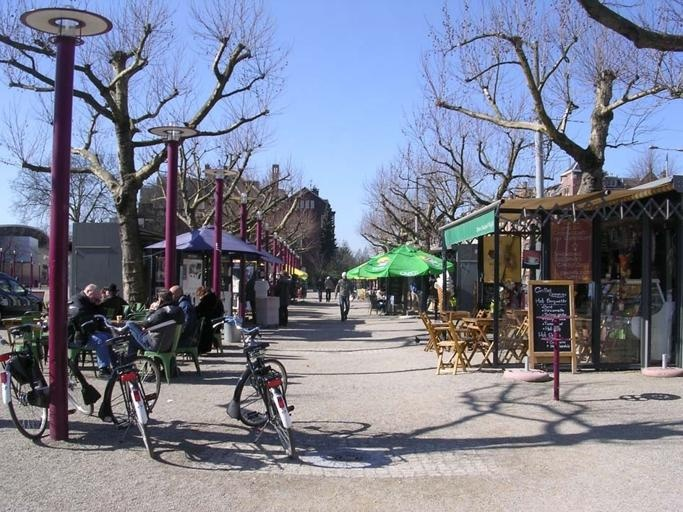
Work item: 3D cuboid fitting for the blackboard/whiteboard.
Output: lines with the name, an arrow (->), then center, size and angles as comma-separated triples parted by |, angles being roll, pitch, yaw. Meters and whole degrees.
blackboard/whiteboard -> 4.013, 1.185, 14.349 | 0.840, 1.442, 0.412 | 1, 4, 11

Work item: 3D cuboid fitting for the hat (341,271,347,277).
hat -> 0.104, 0.713, 29.413 | 0.175, 0.231, 0.252 | 2, -21, -6

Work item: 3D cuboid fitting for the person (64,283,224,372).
person -> -3.601, 1.204, 12.898 | 1.775, 0.869, 1.410 | -7, -10, 36

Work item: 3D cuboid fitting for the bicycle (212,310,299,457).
bicycle -> -1.030, 1.802, 10.147 | 0.813, 1.253, 2.104 | -12, 8, -15

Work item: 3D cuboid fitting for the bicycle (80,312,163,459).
bicycle -> -2.831, 1.736, 10.058 | 0.834, 1.322, 1.949 | -3, -14, -12

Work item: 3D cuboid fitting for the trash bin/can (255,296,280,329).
trash bin/can -> -2.393, 1.883, 25.239 | 0.907, 1.476, 0.919 | 2, -2, -26

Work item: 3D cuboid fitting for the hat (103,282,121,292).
hat -> -6.133, 0.794, 19.950 | 0.341, 0.147, 0.255 | -2, -1, -4

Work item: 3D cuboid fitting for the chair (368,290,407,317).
chair -> 2.023, 2.342, 36.108 | 1.545, 0.873, 0.965 | -1, 3, 14
